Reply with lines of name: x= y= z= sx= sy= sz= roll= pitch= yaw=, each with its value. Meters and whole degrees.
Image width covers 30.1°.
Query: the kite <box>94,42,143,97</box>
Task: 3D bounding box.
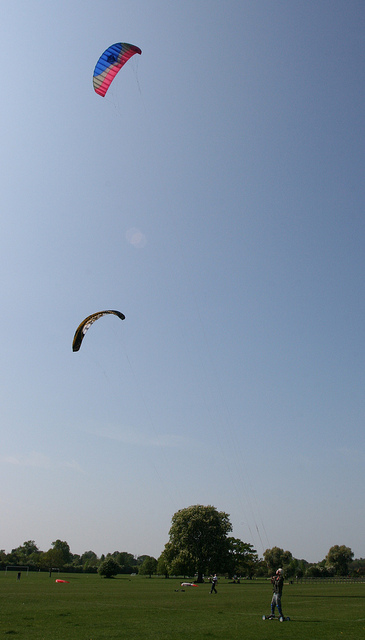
kite: x=-3.805 y=-13.460 z=36.099 sx=1.566 sy=1.050 sz=3.591 roll=7 pitch=-25 yaw=-27

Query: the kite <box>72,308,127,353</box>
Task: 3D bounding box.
kite: x=-4.794 y=0.480 z=37.838 sx=2.545 sy=2.824 sz=0.693 roll=-2 pitch=-59 yaw=17
